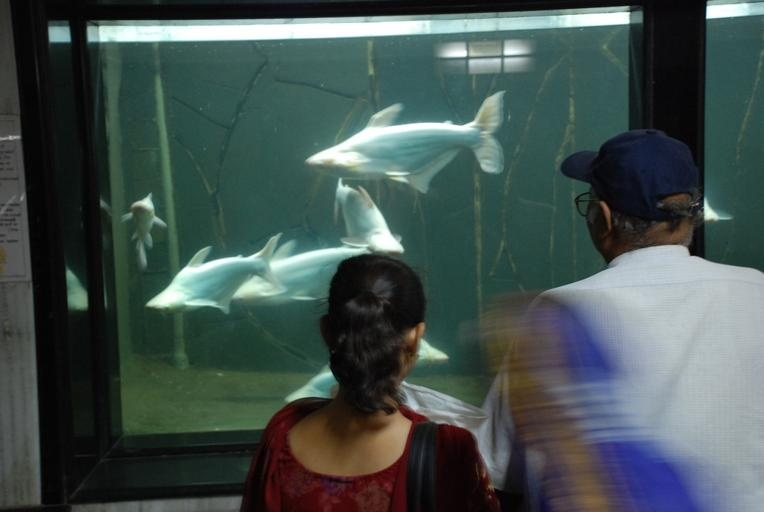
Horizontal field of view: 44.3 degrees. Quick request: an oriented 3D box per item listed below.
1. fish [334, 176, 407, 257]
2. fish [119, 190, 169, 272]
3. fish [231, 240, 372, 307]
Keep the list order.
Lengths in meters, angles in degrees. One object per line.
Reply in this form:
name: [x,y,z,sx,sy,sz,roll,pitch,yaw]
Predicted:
fish: [-0.145,-0.315,7.810,0.402,0.762,0.344,-21,-22,-17]
fish: [-1.936,-0.218,7.610,0.289,0.611,0.301,2,-2,5]
fish: [-0.665,0.116,7.197,0.874,0.340,0.222,-17,20,-3]
